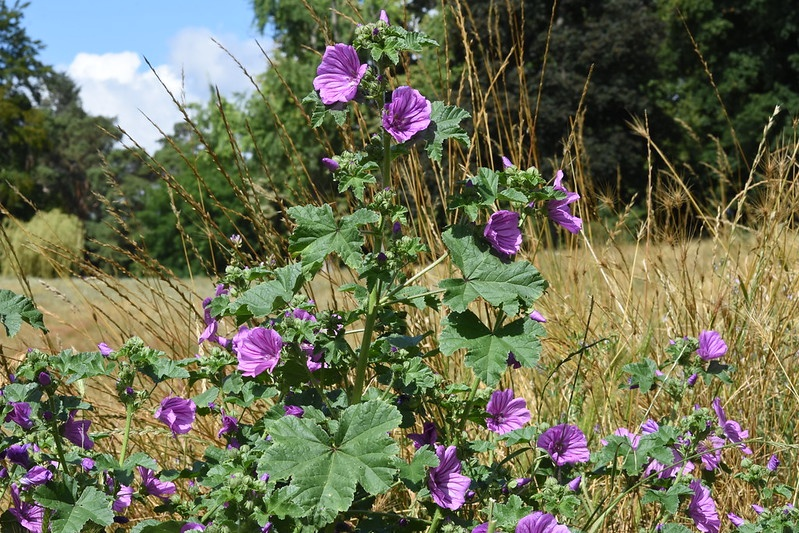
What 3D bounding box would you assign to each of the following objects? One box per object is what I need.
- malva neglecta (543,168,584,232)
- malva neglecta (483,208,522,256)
[{"bbox_3d":[1.466,-0.528,9.120,0.288,0.678,0.494,-11,20,10],"label":"malva neglecta"},{"bbox_3d":[0.911,-0.291,8.834,0.318,0.354,0.156,-39,17,-8],"label":"malva neglecta"}]
